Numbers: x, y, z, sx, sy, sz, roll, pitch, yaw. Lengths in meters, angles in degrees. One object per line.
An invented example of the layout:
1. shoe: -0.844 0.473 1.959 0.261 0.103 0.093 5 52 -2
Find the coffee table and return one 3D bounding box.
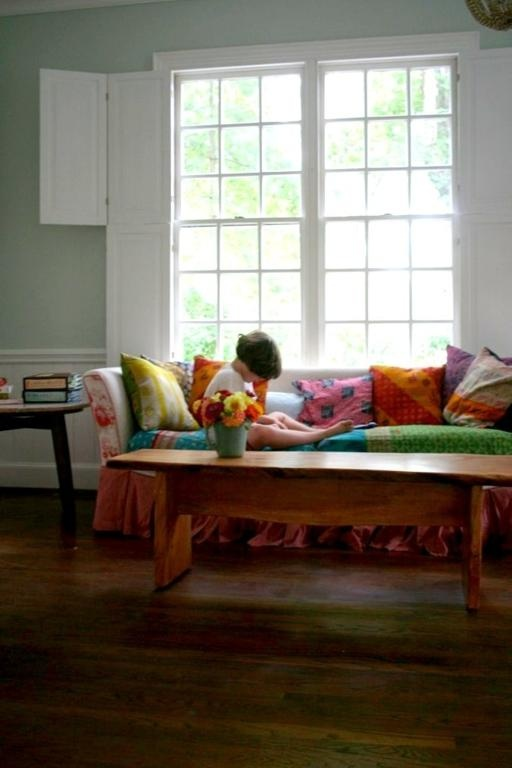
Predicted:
1. coffee table: 0.171 0.450 2.265 1.207 0.510 0.528 3 -3 17

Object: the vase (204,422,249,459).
1. vase: -0.102 0.188 2.358 0.137 0.100 0.107 -3 0 6
